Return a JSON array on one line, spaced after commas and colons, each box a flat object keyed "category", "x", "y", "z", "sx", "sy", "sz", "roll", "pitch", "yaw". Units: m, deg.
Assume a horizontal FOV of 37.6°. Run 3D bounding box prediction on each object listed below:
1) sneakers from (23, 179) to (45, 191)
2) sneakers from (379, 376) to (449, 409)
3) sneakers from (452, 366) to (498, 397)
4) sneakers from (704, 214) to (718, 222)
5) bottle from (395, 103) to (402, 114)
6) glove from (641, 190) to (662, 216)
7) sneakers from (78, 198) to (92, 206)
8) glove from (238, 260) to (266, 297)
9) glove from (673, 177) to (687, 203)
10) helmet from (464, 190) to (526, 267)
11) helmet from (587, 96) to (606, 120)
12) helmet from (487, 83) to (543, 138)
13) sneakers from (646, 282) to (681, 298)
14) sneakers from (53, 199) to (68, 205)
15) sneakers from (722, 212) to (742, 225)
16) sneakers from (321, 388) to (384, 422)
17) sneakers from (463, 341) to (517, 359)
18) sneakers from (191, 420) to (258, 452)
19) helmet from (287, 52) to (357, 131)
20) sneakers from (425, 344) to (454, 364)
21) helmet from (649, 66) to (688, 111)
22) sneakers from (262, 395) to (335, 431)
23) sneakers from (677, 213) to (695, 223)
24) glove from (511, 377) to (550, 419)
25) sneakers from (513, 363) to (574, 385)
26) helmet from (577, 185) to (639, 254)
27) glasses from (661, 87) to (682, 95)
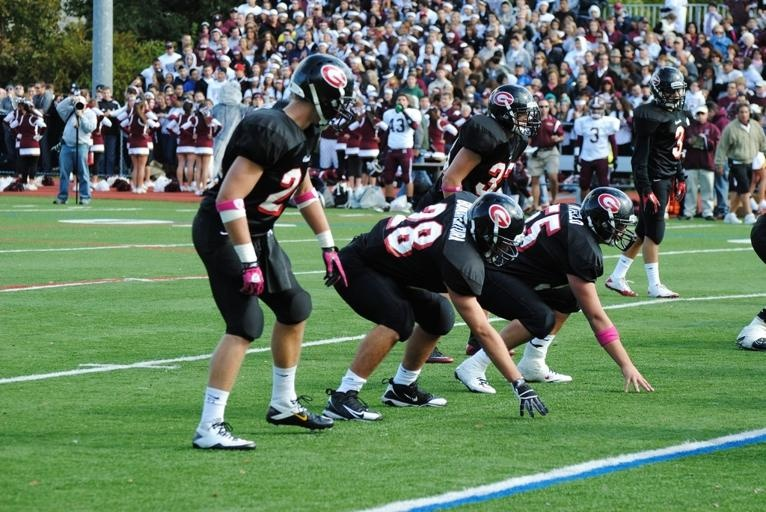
[{"category": "sneakers", "x": -7.669, "y": -1.527, "z": 24.511, "sx": 0.259, "sy": 0.175, "sz": 0.603, "roll": -26, "pitch": -3, "yaw": 6}, {"category": "sneakers", "x": 0.228, "y": 1.043, "z": 8.450, "sx": 0.528, "sy": 0.210, "sz": 0.179, "roll": 1, "pitch": 1, "yaw": -4}, {"category": "sneakers", "x": 0.704, "y": 0.975, "z": 8.667, "sx": 0.400, "sy": 0.164, "sz": 0.139, "roll": 24, "pitch": 27, "yaw": 2}, {"category": "sneakers", "x": 5.854, "y": -0.672, "z": 20.000, "sx": 0.130, "sy": 0.074, "sz": 0.209, "roll": 5, "pitch": 8, "yaw": 23}, {"category": "bottle", "x": 0.269, "y": -2.572, "z": 19.829, "sx": 0.129, "sy": 0.143, "sz": 0.212, "roll": -6, "pitch": 8, "yaw": -21}, {"category": "glove", "x": 2.893, "y": -0.575, "z": 12.041, "sx": 0.296, "sy": 0.232, "sz": 0.144, "roll": -11, "pitch": 17, "yaw": -44}, {"category": "sneakers", "x": -5.525, "y": -0.984, "z": 20.769, "sx": 0.134, "sy": 0.107, "sz": 0.269, "roll": -6, "pitch": -1, "yaw": -14}, {"category": "glove", "x": -0.882, "y": 0.161, "z": 7.486, "sx": 0.133, "sy": 0.244, "sz": 0.130, "roll": -4, "pitch": 13, "yaw": -20}, {"category": "glove", "x": 3.310, "y": -0.727, "z": 12.417, "sx": 0.084, "sy": 0.224, "sz": 0.171, "roll": 7, "pitch": 4, "yaw": -10}, {"category": "helmet", "x": 0.783, "y": -0.182, "z": 8.084, "sx": 0.503, "sy": 0.451, "sz": 0.386, "roll": 18, "pitch": 10, "yaw": -15}, {"category": "helmet", "x": 3.751, "y": -2.576, "z": 19.613, "sx": 0.293, "sy": 0.340, "sz": 0.438, "roll": 2, "pitch": 12, "yaw": 8}, {"category": "helmet", "x": 1.077, "y": -1.244, "z": 9.479, "sx": 0.494, "sy": 0.352, "sz": 0.341, "roll": 12, "pitch": 18, "yaw": 18}, {"category": "sneakers", "x": 2.978, "y": 0.380, "z": 11.944, "sx": 0.376, "sy": 0.142, "sz": 0.126, "roll": 1, "pitch": 2, "yaw": 9}, {"category": "sneakers", "x": -5.938, "y": -0.982, "z": 20.528, "sx": 0.331, "sy": 0.098, "sz": 0.136, "roll": 4, "pitch": -18, "yaw": 7}, {"category": "sneakers", "x": 6.046, "y": -0.667, "z": 19.416, "sx": 0.275, "sy": 0.190, "sz": 0.461, "roll": 4, "pitch": 12, "yaw": 16}, {"category": "sneakers", "x": -0.239, "y": 1.064, "z": 8.049, "sx": 0.496, "sy": 0.227, "sz": 0.179, "roll": 1, "pitch": -3, "yaw": -2}, {"category": "sneakers", "x": 0.874, "y": 0.779, "z": 9.336, "sx": 0.475, "sy": 0.180, "sz": 0.148, "roll": -1, "pitch": 2, "yaw": 12}, {"category": "sneakers", "x": -1.070, "y": 1.219, "z": 7.593, "sx": 0.441, "sy": 0.172, "sz": 0.174, "roll": 1, "pitch": -2, "yaw": -1}, {"category": "helmet", "x": -0.444, "y": -1.147, "z": 7.755, "sx": 0.531, "sy": 0.451, "sz": 0.371, "roll": 1, "pitch": 12, "yaw": -21}, {"category": "sneakers", "x": 0.536, "y": 0.840, "z": 9.432, "sx": 0.351, "sy": 0.129, "sz": 0.112, "roll": -1, "pitch": 2, "yaw": 10}, {"category": "helmet", "x": 3.009, "y": -1.739, "z": 11.798, "sx": 0.357, "sy": 0.466, "sz": 0.343, "roll": 1, "pitch": 12, "yaw": 1}, {"category": "sneakers", "x": -0.593, "y": 1.103, "z": 7.951, "sx": 0.517, "sy": 0.217, "sz": 0.184, "roll": 6, "pitch": 4, "yaw": -6}, {"category": "sneakers", "x": 5.446, "y": -0.690, "z": 20.115, "sx": 0.210, "sy": 0.102, "sz": 0.451, "roll": 3, "pitch": 12, "yaw": 13}, {"category": "glove", "x": 1.025, "y": 1.043, "z": 8.028, "sx": 0.258, "sy": 0.334, "sz": 0.092, "roll": -18, "pitch": -37, "yaw": -1}, {"category": "sneakers", "x": 1.249, "y": 0.930, "z": 8.873, "sx": 0.497, "sy": 0.185, "sz": 0.142, "roll": -2, "pitch": 9, "yaw": -2}, {"category": "helmet", "x": 1.811, "y": -0.319, "z": 9.089, "sx": 0.574, "sy": 0.436, "sz": 0.430, "roll": 15, "pitch": 9, "yaw": 1}, {"category": "glasses", "x": 2.985, "y": -1.715, "z": 11.698, "sx": 0.113, "sy": 0.107, "sz": 0.142, "roll": -9, "pitch": 15, "yaw": -39}]
